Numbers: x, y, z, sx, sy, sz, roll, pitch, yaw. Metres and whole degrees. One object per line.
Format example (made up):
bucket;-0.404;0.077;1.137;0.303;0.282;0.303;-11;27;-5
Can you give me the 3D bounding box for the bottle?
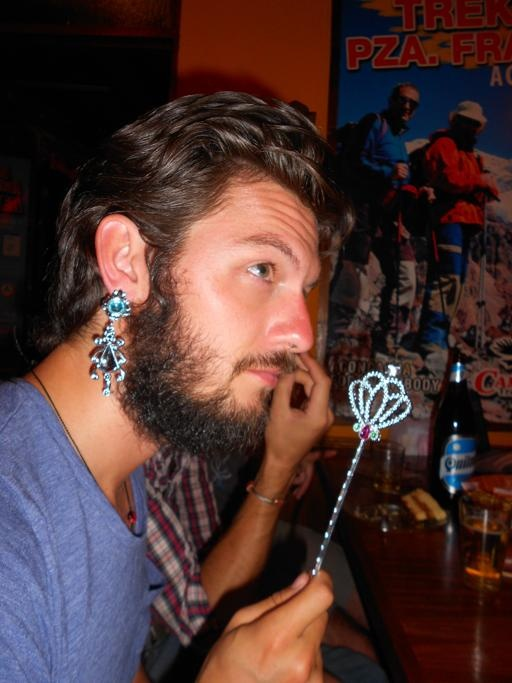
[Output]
bottle;0.548;0.236;1.696;0.112;0.383;0.377;7;9;18
